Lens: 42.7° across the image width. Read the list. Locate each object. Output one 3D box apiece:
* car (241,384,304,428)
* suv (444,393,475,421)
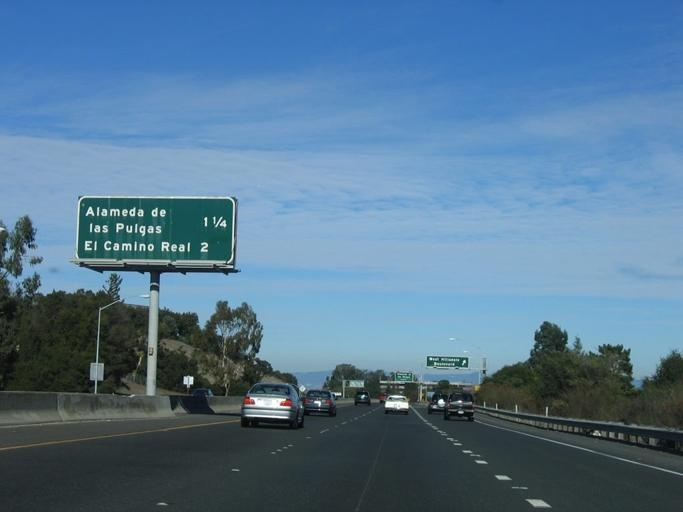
[{"bbox_3d":[-2.818,6.277,36.179,2.178,2.043,5.040,1,-9,2],"label":"car"},{"bbox_3d":[7.375,9.411,54.606,1.878,1.783,1.526,-4,-10,22],"label":"suv"}]
